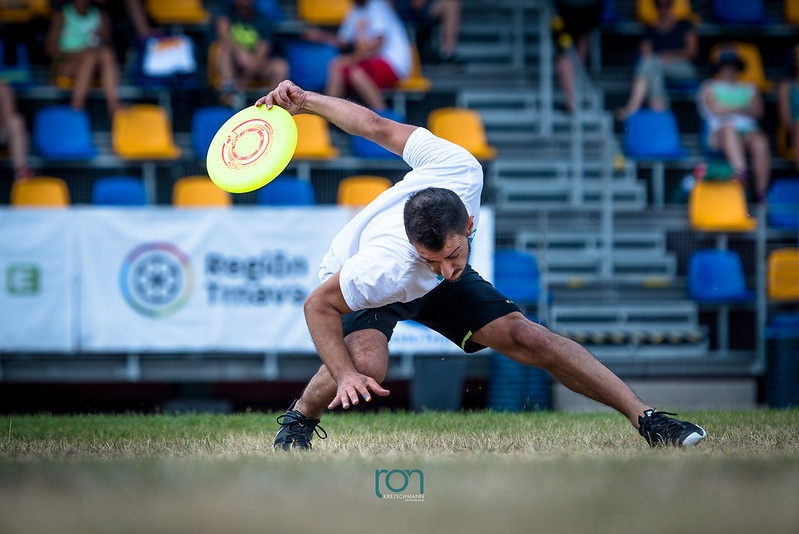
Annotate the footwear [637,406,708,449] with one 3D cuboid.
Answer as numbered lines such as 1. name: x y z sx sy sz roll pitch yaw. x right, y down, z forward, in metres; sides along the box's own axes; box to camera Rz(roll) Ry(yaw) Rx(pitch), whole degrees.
1. footwear: 2.380 1.409 15.608 0.492 0.240 0.303 3 38 29

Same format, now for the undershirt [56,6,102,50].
1. undershirt: -3.506 -2.602 19.210 0.422 0.560 0.290 4 -5 -16

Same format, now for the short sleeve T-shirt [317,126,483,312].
1. short sleeve T-shirt: 0.037 -0.381 15.672 1.268 1.485 0.813 -9 28 -33

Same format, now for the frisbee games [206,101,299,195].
1. frisbee games: -1.366 -1.054 16.207 0.934 0.235 0.956 -24 31 5
